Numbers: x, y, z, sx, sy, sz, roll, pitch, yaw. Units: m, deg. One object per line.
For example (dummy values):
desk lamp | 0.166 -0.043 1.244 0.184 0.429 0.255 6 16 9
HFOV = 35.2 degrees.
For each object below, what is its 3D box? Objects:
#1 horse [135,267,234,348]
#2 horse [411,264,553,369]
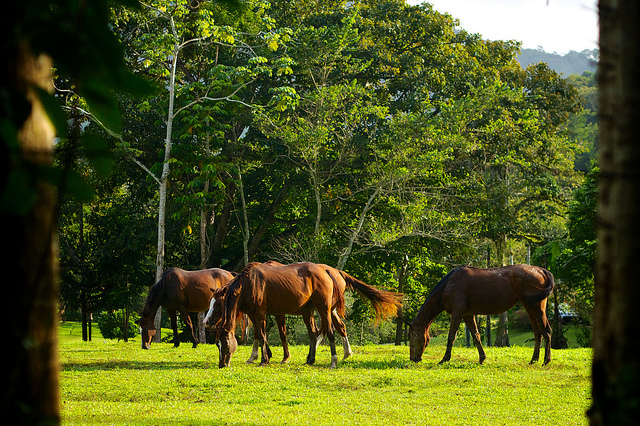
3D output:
horse | -5.611 3.877 43.210 1.420 3.575 5.538 4 11 43
horse | 6.213 3.953 39.454 5.839 3.993 1.721 -3 -3 12
